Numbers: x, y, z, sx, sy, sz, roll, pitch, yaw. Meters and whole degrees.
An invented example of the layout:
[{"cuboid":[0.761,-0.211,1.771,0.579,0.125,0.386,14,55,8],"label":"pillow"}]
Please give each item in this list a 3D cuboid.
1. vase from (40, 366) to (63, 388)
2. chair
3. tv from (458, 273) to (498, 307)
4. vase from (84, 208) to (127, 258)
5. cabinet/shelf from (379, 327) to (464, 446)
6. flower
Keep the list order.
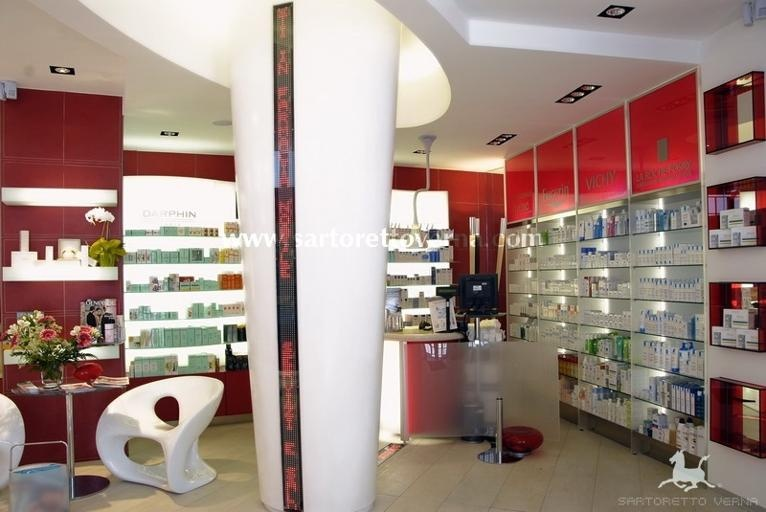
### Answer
[{"cuboid":[-3.536,1.299,5.960,0.211,0.232,0.211,1,6,-22],"label":"vase"},{"cuboid":[-2.416,2.044,6.385,1.316,1.032,1.119,1,-1,22],"label":"chair"},{"cuboid":[1.181,0.457,7.400,0.688,0.623,0.361,0,-6,2],"label":"tv"},{"cuboid":[-3.376,-0.281,6.748,0.448,0.740,0.468,-12,-11,34],"label":"vase"},{"cuboid":[0.265,1.756,7.732,1.312,1.408,1.262,2,-4,-27],"label":"cabinet/shelf"},{"cuboid":[-3.617,1.004,6.176,0.918,0.829,0.674,-2,6,-13],"label":"flower"}]
